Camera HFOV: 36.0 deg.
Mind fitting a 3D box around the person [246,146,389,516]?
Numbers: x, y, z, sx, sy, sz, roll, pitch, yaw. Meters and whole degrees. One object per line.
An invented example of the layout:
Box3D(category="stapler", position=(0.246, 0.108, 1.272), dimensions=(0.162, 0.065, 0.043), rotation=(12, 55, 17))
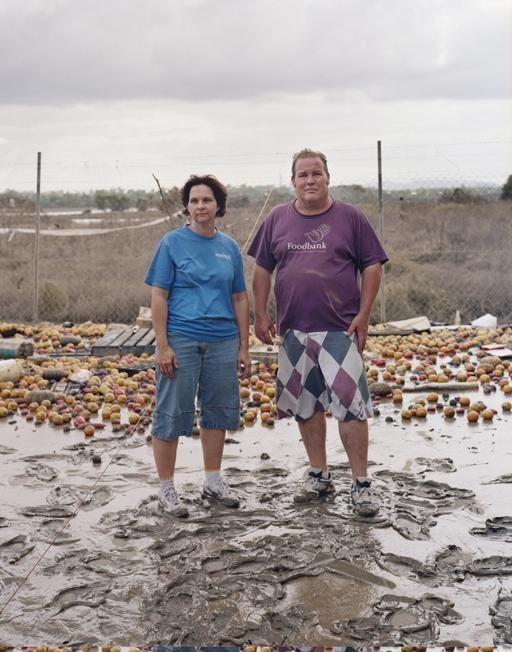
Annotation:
Box3D(category="person", position=(0.363, 0.011, 4.823), dimensions=(0.852, 2.142, 0.511), rotation=(1, 2, 19))

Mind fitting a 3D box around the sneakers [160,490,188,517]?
Box3D(category="sneakers", position=(-0.494, 1.038, 4.637), dimensions=(0.085, 0.092, 0.233), rotation=(-5, 11, -33))

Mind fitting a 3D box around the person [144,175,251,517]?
Box3D(category="person", position=(-0.295, 0.094, 4.771), dimensions=(0.676, 1.993, 0.380), rotation=(-2, 3, -42))

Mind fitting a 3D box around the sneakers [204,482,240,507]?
Box3D(category="sneakers", position=(-0.201, 1.027, 4.826), dimensions=(0.274, 0.108, 0.092), rotation=(12, 15, 34))

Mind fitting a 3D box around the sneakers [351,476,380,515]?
Box3D(category="sneakers", position=(0.639, 1.002, 4.613), dimensions=(0.158, 0.179, 0.267), rotation=(0, 2, 6))
